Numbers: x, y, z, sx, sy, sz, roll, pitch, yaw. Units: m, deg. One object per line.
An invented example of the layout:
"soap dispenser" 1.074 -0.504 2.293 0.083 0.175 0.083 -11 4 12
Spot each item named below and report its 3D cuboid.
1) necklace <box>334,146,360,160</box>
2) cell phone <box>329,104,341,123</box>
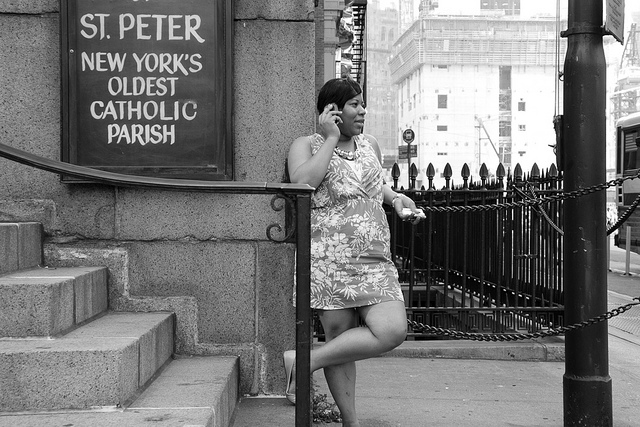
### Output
"necklace" 0.216 -0.494 8.841 0.158 0.051 0.120 11 7 -31
"cell phone" 0.134 -0.845 8.842 0.032 0.122 0.134 6 -1 -12
